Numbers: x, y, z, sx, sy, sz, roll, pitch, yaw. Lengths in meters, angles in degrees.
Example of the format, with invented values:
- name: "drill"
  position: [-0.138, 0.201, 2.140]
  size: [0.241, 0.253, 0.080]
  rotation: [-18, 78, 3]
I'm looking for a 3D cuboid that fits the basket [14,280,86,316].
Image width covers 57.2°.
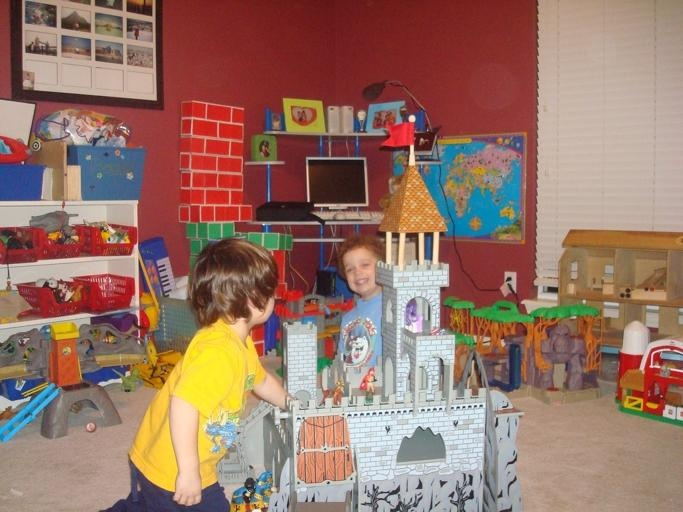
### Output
- name: "basket"
  position: [-1.882, 0.266, 4.073]
  size: [0.369, 0.220, 0.268]
  rotation: [-10, 15, -37]

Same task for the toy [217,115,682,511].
- name: "toy"
  position: [0.083, 0.179, 2.744]
  size: [0.847, 1.533, 1.037]
  rotation: [-3, 11, -11]

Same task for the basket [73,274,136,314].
- name: "basket"
  position: [-1.640, 0.264, 4.342]
  size: [0.241, 0.207, 0.356]
  rotation: [-3, 4, -37]

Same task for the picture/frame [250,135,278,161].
- name: "picture/frame"
  position: [-0.664, -0.904, 5.249]
  size: [0.202, 0.242, 0.070]
  rotation: [3, -2, -35]

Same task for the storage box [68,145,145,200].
- name: "storage box"
  position: [-1.591, -0.571, 4.249]
  size: [0.298, 0.428, 0.555]
  rotation: [4, 7, 41]

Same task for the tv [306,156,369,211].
- name: "tv"
  position: [-0.049, -0.623, 5.398]
  size: [0.422, 0.364, 0.116]
  rotation: [1, -9, -11]

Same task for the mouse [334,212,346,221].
- name: "mouse"
  position: [-0.014, -0.323, 5.124]
  size: [0.062, 0.020, 0.073]
  rotation: [6, 23, 9]

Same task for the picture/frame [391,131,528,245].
- name: "picture/frame"
  position: [0.926, -0.498, 4.534]
  size: [0.801, 0.758, 0.061]
  rotation: [12, 18, 43]

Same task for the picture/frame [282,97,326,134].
- name: "picture/frame"
  position: [-0.335, -1.186, 5.334]
  size: [0.336, 0.283, 0.038]
  rotation: [-1, -9, -33]
